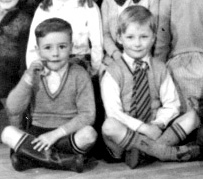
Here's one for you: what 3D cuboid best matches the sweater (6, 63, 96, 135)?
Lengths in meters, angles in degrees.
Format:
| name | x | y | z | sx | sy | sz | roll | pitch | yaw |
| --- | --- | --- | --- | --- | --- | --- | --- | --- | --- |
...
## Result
| name | x | y | z | sx | sy | sz | roll | pitch | yaw |
| --- | --- | --- | --- | --- | --- | --- | --- | --- | --- |
| sweater | -0.298 | -0.031 | 1.807 | 0.694 | 0.552 | 0.407 | -1 | -5 | 9 |

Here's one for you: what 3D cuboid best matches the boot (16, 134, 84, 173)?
| name | x | y | z | sx | sy | sz | roll | pitch | yaw |
| --- | --- | --- | --- | --- | --- | --- | --- | --- | --- |
| boot | -0.294 | 0.411 | 1.612 | 0.465 | 0.169 | 0.148 | 15 | 10 | -3 |

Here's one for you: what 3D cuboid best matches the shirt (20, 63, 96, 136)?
| name | x | y | z | sx | sy | sz | roll | pitch | yaw |
| --- | --- | --- | --- | --- | --- | --- | --- | --- | --- |
| shirt | -0.341 | 0.041 | 1.777 | 0.626 | 0.487 | 0.352 | 2 | 13 | -15 |

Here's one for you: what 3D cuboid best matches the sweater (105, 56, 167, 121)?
| name | x | y | z | sx | sy | sz | roll | pitch | yaw |
| --- | --- | --- | --- | --- | --- | --- | --- | --- | --- |
| sweater | 0.280 | -0.027 | 1.882 | 0.487 | 0.454 | 0.272 | -5 | 6 | -11 |

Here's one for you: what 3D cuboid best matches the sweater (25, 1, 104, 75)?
| name | x | y | z | sx | sy | sz | roll | pitch | yaw |
| --- | --- | --- | --- | --- | --- | --- | --- | --- | --- |
| sweater | -0.267 | -0.382 | 1.905 | 0.587 | 0.600 | 0.335 | 4 | 7 | 1 |

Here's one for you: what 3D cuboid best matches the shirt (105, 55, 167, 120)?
| name | x | y | z | sx | sy | sz | roll | pitch | yaw |
| --- | --- | --- | --- | --- | --- | --- | --- | --- | --- |
| shirt | 0.260 | -0.023 | 1.944 | 0.379 | 0.483 | 0.134 | 2 | -4 | -3 |

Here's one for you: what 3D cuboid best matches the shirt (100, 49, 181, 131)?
| name | x | y | z | sx | sy | sz | roll | pitch | yaw |
| --- | --- | --- | --- | --- | --- | --- | --- | --- | --- |
| shirt | 0.238 | 0.018 | 1.628 | 0.467 | 0.581 | 0.156 | -4 | -7 | -6 |
